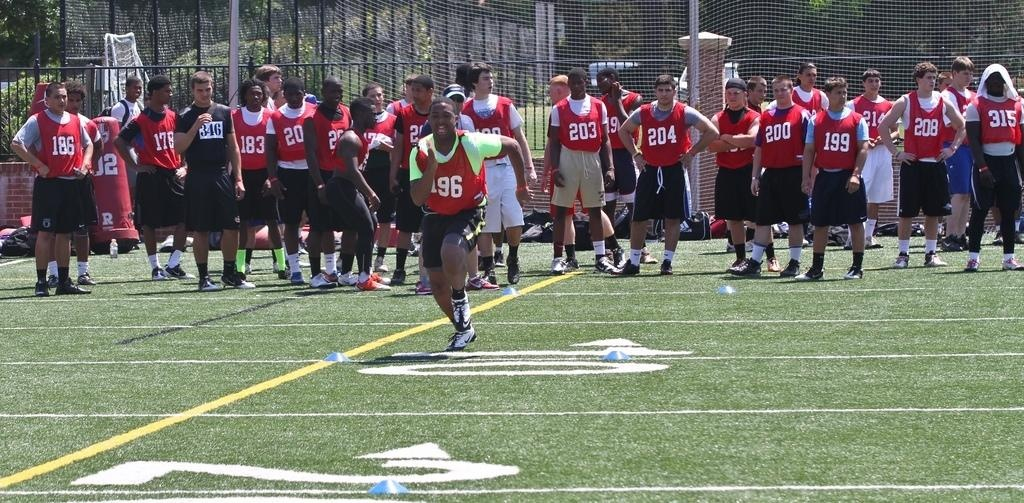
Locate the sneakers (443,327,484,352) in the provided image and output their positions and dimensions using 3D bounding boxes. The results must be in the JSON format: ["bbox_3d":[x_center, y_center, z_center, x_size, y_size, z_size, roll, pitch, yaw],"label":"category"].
[{"bbox_3d":[-0.677,1.198,16.031,0.565,0.233,0.182,-30,24,-11],"label":"sneakers"}]
